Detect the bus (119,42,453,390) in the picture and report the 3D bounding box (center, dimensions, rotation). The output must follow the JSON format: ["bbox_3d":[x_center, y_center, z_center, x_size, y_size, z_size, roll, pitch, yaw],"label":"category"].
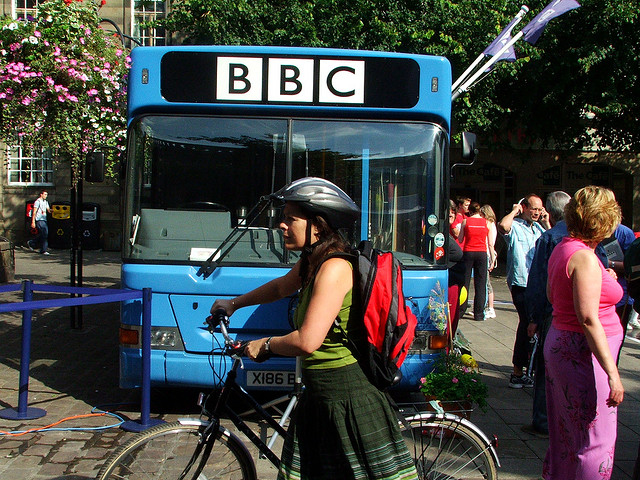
[{"bbox_3d":[-0.276,-0.730,7.933,3.888,3.647,2.983,1,0,0],"label":"bus"}]

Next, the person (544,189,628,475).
[{"bbox_3d":[1.971,0.757,5.151,0.550,2.261,0.547,3,6,21],"label":"person"}]
